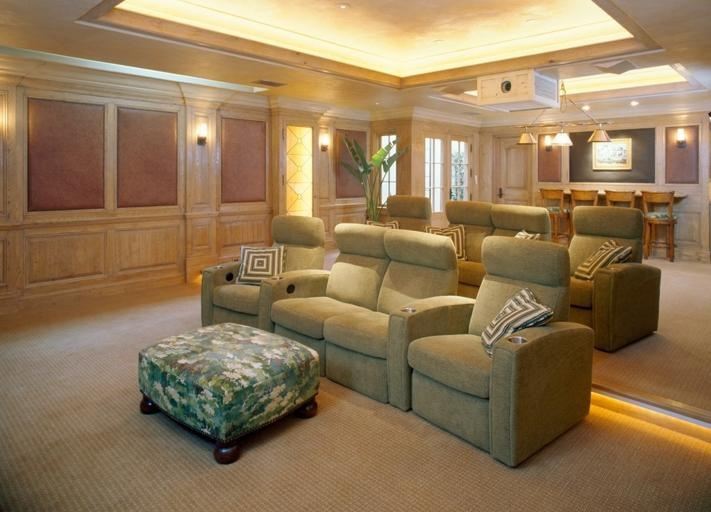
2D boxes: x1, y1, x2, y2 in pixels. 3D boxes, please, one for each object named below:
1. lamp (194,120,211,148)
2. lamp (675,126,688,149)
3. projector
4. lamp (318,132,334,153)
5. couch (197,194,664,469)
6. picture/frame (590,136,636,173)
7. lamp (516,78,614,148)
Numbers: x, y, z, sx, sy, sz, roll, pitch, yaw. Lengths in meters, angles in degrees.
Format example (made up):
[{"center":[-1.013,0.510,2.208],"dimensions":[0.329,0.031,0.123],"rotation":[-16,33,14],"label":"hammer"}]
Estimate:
[{"center":[-2.267,-1.839,7.071],"dimensions":[0.058,0.377,0.198],"rotation":[8,12,43],"label":"lamp"},{"center":[5.885,-2.140,8.580],"dimensions":[0.193,0.354,0.093],"rotation":[5,10,31],"label":"lamp"},{"center":[2.145,-2.196,6.349],"dimensions":[0.829,0.397,0.839],"rotation":[-8,11,-44],"label":"projector"},{"center":[-0.562,-2.111,8.802],"dimensions":[0.098,0.374,0.361],"rotation":[7,11,39],"label":"lamp"},{"center":[0.800,0.284,4.966],"dimensions":[3.516,1.550,3.123],"rotation":[6,10,39],"label":"couch"},{"center":[5.007,-1.972,9.165],"dimensions":[0.065,0.655,0.784],"rotation":[-2,3,-40],"label":"picture/frame"},{"center":[3.750,-2.524,8.302],"dimensions":[1.416,1.103,0.336],"rotation":[-1,-6,14],"label":"lamp"}]
